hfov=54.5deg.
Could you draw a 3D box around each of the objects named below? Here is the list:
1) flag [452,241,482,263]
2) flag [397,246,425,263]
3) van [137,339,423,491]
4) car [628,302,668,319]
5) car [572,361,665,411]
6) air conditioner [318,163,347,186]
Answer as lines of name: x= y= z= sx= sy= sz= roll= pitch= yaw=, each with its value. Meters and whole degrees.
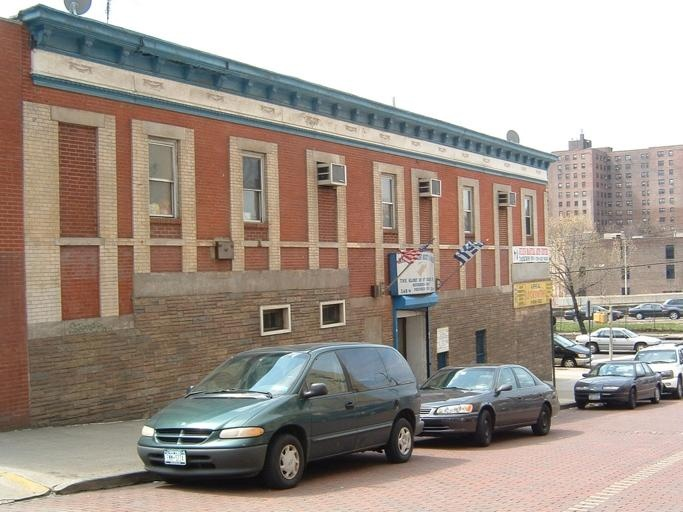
flag: x=4.734 y=-0.133 z=24.575 sx=0.749 sy=0.844 sz=0.858 roll=-6 pitch=-7 yaw=37
flag: x=2.433 y=-0.038 z=23.086 sx=0.909 sy=0.600 sz=1.266 roll=-3 pitch=-5 yaw=5
van: x=-0.765 y=2.435 z=10.831 sx=2.181 sy=1.442 sz=4.185 roll=-8 pitch=-12 yaw=37
car: x=33.465 y=6.033 z=72.289 sx=5.092 sy=1.401 sz=1.970 roll=-2 pitch=2 yaw=2
car: x=10.390 y=4.851 z=24.920 sx=3.135 sy=1.643 sz=1.825 roll=2 pitch=-7 yaw=-40
air conditioner: x=-0.287 y=-2.522 z=20.248 sx=0.627 sy=0.742 sz=0.775 roll=-7 pitch=-7 yaw=38
